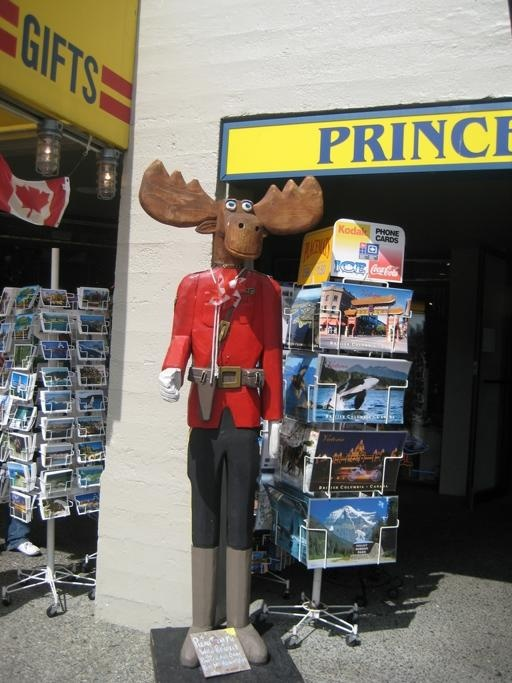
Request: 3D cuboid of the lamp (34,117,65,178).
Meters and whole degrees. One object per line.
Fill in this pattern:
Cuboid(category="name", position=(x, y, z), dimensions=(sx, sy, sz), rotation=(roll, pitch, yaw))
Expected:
Cuboid(category="lamp", position=(-0.992, -0.919, 3.128), dimensions=(0.112, 0.263, 0.305), rotation=(4, 0, -19))

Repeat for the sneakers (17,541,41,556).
Cuboid(category="sneakers", position=(-1.486, 1.352, 4.268), dimensions=(0.154, 0.054, 0.081), rotation=(2, -2, 36))
